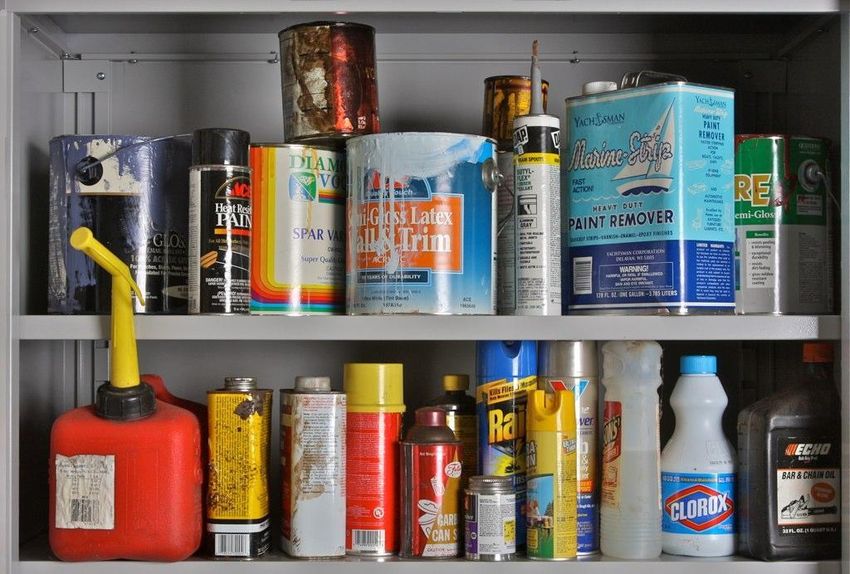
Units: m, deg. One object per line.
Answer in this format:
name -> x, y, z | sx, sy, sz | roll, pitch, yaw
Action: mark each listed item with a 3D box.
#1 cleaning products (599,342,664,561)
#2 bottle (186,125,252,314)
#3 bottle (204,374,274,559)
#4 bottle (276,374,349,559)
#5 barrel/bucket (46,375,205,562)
cleaning products -> 0.318, 0.252, 1.757 | 0.094, 0.333, 0.050 | -1, -3, 13
bottle -> -0.315, -0.101, 1.731 | 0.091, 0.282, 0.029 | 0, -3, -8
bottle -> -0.287, 0.287, 1.735 | 0.094, 0.256, 0.032 | 0, -3, -10
bottle -> -0.173, 0.277, 1.737 | 0.101, 0.273, 0.037 | -1, -3, 0
barrel/bucket -> -0.446, 0.285, 1.689 | 0.308, 0.295, 0.172 | 0, 1, 3
